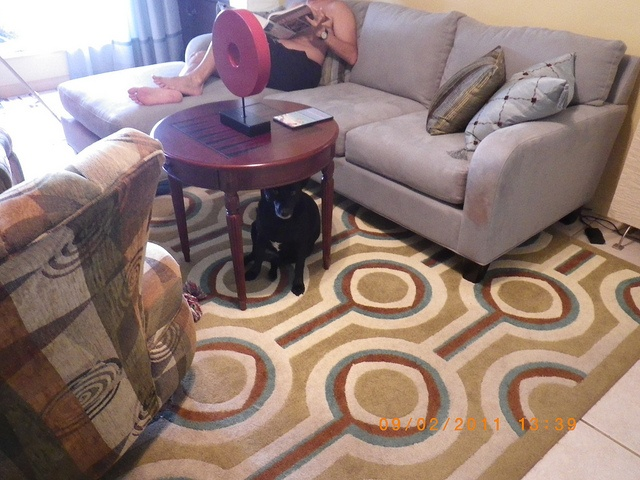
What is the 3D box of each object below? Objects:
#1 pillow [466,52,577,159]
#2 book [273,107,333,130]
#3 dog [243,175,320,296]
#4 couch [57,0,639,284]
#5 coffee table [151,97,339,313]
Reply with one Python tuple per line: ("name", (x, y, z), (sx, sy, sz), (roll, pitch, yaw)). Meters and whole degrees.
("pillow", (0.919, -0.632, 2.363), (0.445, 0.364, 0.387), (12, 39, 17))
("book", (-0.075, -0.543, 2.303), (0.188, 0.020, 0.137), (-20, 40, -29))
("dog", (-0.141, -0.131, 2.322), (0.327, 0.594, 0.501), (2, 37, -8))
("couch", (0.272, -0.434, 2.415), (0.890, 0.550, 1.358), (-22, 51, -31))
("coffee table", (-0.346, -0.256, 2.538), (0.833, 0.769, 0.870), (-26, 50, -23))
